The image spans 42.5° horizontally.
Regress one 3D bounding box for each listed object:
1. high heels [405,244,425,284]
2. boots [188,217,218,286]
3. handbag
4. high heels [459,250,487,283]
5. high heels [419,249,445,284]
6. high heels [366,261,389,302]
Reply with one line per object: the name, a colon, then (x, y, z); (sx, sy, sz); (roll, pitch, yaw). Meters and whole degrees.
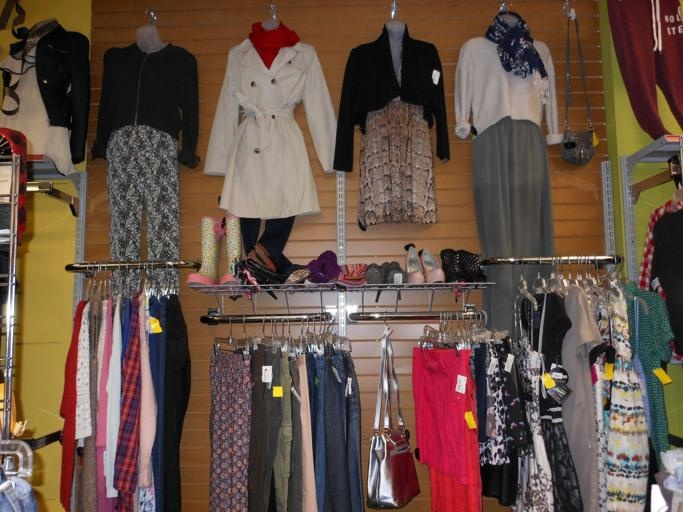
high heels: (0.492, 0.068, 5.786); (0.078, 0.300, 0.114); (-5, -35, 0)
boots: (-0.923, -0.029, 5.911); (0.190, 0.508, 0.455); (0, -9, -7)
handbag: (0.340, 1.081, 5.806); (0.329, 1.176, 0.470); (-2, -8, 6)
high heels: (0.853, 0.069, 5.667); (0.079, 0.149, 0.300); (-1, 2, -7)
high heels: (0.605, 0.080, 5.826); (0.084, 0.116, 0.305); (-9, 36, -6)
high heels: (0.236, 0.159, 5.752); (0.113, 0.227, 0.072); (10, -13, -37)
